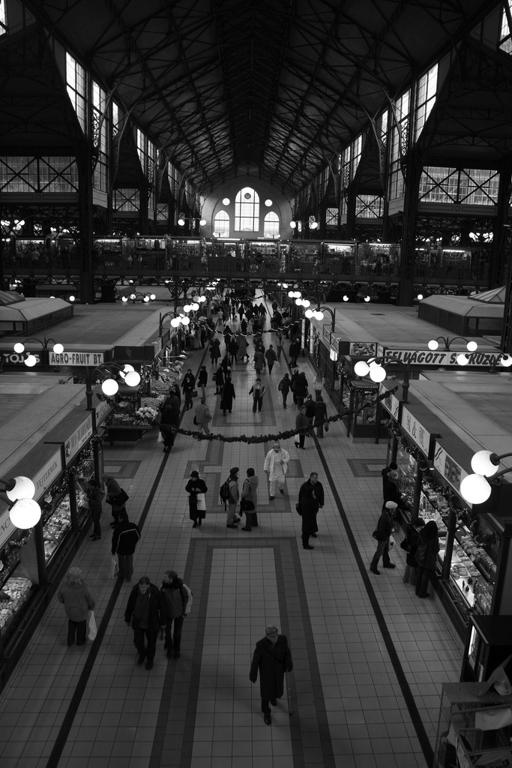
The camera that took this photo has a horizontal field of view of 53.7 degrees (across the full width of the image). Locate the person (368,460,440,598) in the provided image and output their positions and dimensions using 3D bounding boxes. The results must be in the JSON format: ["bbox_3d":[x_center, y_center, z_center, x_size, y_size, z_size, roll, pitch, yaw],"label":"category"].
[{"bbox_3d":[2.532,2.466,8.559,0.419,1.510,1.417,-7,26,-19],"label":"person"}]

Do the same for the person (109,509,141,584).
[{"bbox_3d":[-2.016,2.449,7.751,0.353,1.203,0.878,0,5,-17],"label":"person"}]

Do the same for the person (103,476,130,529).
[{"bbox_3d":[-2.628,2.208,9.439,0.423,0.970,0.416,-16,42,-22],"label":"person"}]

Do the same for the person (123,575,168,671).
[{"bbox_3d":[-1.234,2.636,5.706,0.438,1.259,0.583,-1,5,-26],"label":"person"}]

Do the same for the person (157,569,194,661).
[{"bbox_3d":[-0.983,2.652,5.963,0.428,1.118,0.356,-3,11,-30],"label":"person"}]
